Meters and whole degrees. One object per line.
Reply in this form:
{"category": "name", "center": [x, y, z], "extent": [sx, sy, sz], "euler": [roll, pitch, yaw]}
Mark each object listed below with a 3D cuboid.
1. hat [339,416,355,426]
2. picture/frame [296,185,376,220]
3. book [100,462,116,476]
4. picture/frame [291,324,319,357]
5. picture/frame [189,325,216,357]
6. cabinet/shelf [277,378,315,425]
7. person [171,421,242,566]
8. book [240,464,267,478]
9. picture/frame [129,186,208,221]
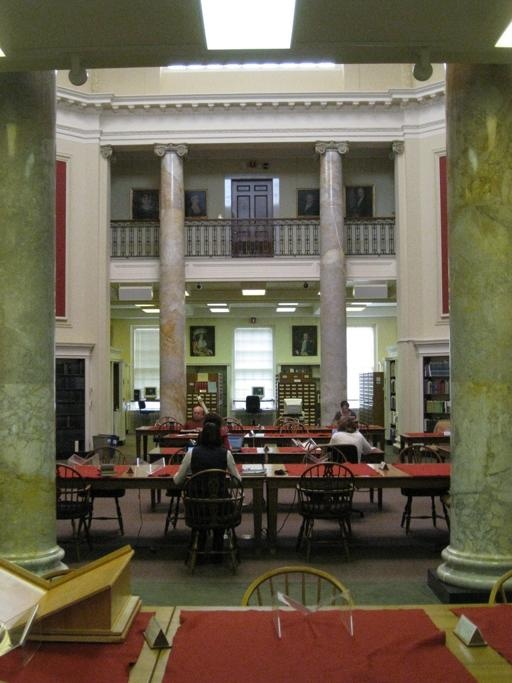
{"category": "hat", "center": [0.927, 0.804, 7.107], "extent": [0.123, 0.118, 0.100], "euler": [9, 1, 6]}
{"category": "picture/frame", "center": [1.655, -2.756, 14.029], "extent": [1.043, 0.591, 0.037], "euler": [0, -6, -1]}
{"category": "book", "center": [-1.276, 1.084, 5.955], "extent": [0.091, 0.062, 0.092], "euler": [1, 3, 5]}
{"category": "picture/frame", "center": [1.347, -0.002, 19.259], "extent": [0.867, 1.031, 0.069], "euler": [-1, -2, 8]}
{"category": "picture/frame", "center": [-1.481, -0.010, 19.416], "extent": [0.846, 1.046, 0.053], "euler": [1, 1, 8]}
{"category": "cabinet/shelf", "center": [1.079, 1.488, 17.843], "extent": [1.093, 1.122, 2.050], "euler": [-2, -5, 2]}
{"category": "person", "center": [-0.384, 1.140, 5.371], "extent": [0.509, 1.087, 0.816], "euler": [0, -4, -5]}
{"category": "book", "center": [-0.036, 1.095, 5.954], "extent": [0.226, 0.045, 0.586], "euler": [0, -3, -1]}
{"category": "picture/frame", "center": [-1.776, -2.719, 13.995], "extent": [1.043, 0.537, 0.046], "euler": [0, 1, 3]}
